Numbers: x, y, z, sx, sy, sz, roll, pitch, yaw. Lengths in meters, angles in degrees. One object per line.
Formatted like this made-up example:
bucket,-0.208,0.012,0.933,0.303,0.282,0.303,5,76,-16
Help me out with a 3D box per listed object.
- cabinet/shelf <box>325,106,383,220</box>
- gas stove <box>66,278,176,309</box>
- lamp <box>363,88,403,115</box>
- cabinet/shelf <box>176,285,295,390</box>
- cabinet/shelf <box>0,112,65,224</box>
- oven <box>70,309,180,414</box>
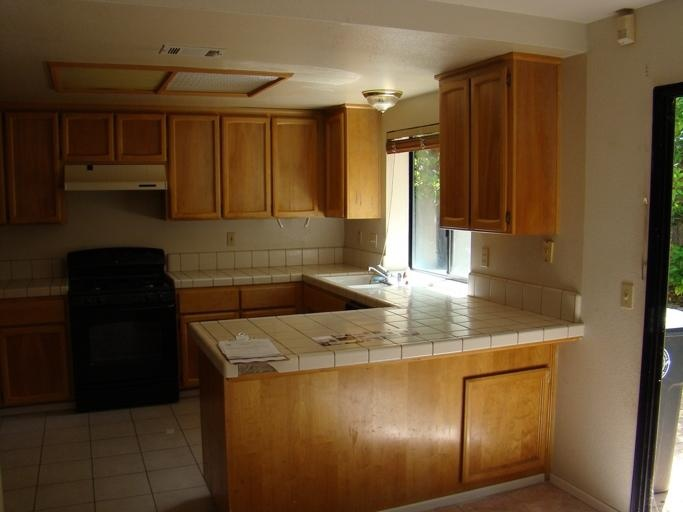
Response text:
cabinet/shelf,0.079,-0.858,5.080,0.589,1.030,0.381,0,12,13
gas stove,-1.861,0.327,4.731,0.827,0.226,0.407,-6,13,-18
lamp,0.329,-1.243,4.400,0.209,0.105,0.212,-1,2,-7
cabinet/shelf,-0.776,0.538,3.713,0.901,0.808,0.319,-1,1,-21
cabinet/shelf,-2.576,-0.739,4.618,0.455,0.917,0.133,-3,11,-4
oven,-1.950,0.926,4.917,0.938,0.991,0.810,-4,-19,-20
